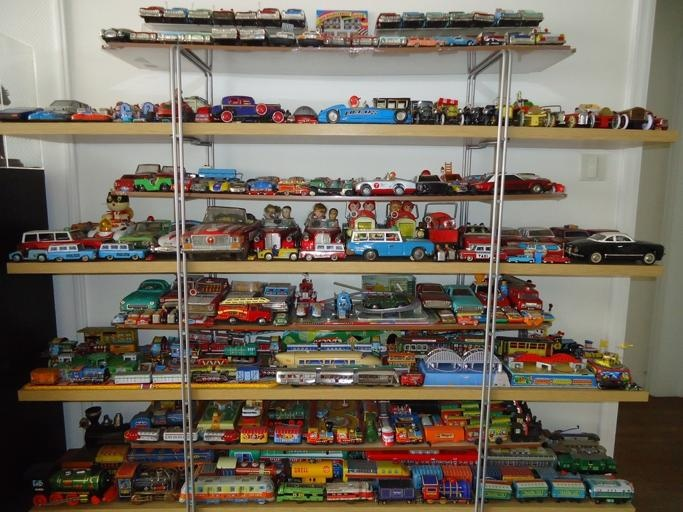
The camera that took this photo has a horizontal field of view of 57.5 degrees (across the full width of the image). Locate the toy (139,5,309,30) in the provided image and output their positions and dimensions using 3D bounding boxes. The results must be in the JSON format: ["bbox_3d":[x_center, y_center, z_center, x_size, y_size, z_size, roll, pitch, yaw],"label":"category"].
[{"bbox_3d":[-0.926,-1.921,4.967,1.299,0.201,0.297,-2,8,-10],"label":"toy"}]
